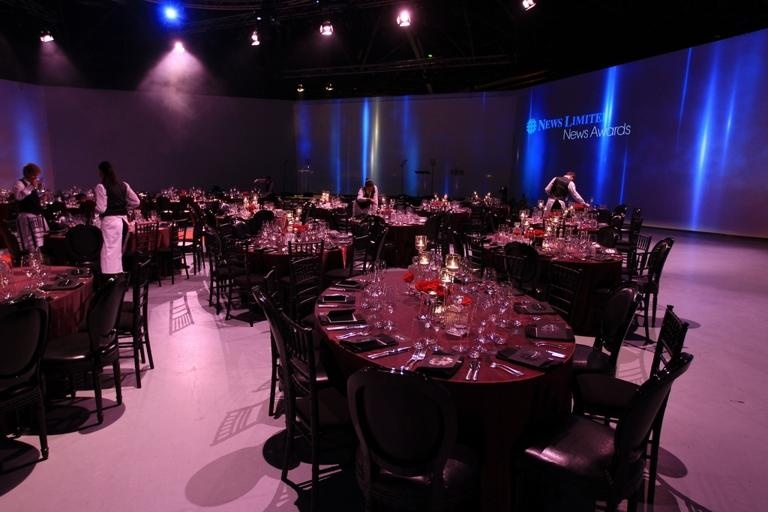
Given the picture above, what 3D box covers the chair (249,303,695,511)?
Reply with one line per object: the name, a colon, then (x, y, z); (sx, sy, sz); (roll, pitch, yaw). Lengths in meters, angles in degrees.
chair: (1.142, 1.612, 5.286); (3.795, 1.888, 1.128); (-1, 9, -3)
